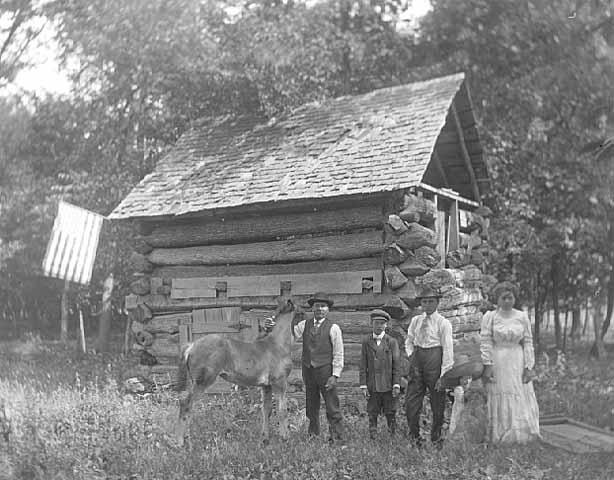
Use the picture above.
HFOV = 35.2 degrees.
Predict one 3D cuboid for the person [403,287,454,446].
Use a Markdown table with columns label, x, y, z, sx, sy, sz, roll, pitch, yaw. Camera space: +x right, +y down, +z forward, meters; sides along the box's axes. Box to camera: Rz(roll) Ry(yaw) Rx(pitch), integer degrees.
| label | x | y | z | sx | sy | sz | roll | pitch | yaw |
| --- | --- | --- | --- | --- | --- | --- | --- | --- | --- |
| person | 1.908 | 1.960 | 15.077 | 0.739 | 2.337 | 0.852 | -1 | 10 | 8 |

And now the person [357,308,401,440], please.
| label | x | y | z | sx | sy | sz | roll | pitch | yaw |
| --- | --- | --- | --- | --- | --- | --- | --- | --- | --- |
| person | 1.170 | 2.102 | 15.248 | 0.634 | 1.897 | 0.609 | -1 | 10 | 6 |

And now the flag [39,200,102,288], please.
| label | x | y | z | sx | sy | sz | roll | pitch | yaw |
| --- | --- | --- | --- | --- | --- | --- | --- | --- | --- |
| flag | -4.077 | 0.061 | 17.570 | 0.122 | 1.262 | 1.649 | 18 | -4 | -38 |

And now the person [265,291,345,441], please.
| label | x | y | z | sx | sy | sz | roll | pitch | yaw |
| --- | --- | --- | --- | --- | --- | --- | --- | --- | --- |
| person | 0.257 | 1.988 | 15.153 | 0.629 | 2.176 | 0.813 | -2 | 10 | 0 |

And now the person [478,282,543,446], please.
| label | x | y | z | sx | sy | sz | roll | pitch | yaw |
| --- | --- | --- | --- | --- | --- | --- | --- | --- | --- |
| person | 3.129 | 1.873 | 14.822 | 0.865 | 2.408 | 0.582 | 0 | 10 | 10 |
